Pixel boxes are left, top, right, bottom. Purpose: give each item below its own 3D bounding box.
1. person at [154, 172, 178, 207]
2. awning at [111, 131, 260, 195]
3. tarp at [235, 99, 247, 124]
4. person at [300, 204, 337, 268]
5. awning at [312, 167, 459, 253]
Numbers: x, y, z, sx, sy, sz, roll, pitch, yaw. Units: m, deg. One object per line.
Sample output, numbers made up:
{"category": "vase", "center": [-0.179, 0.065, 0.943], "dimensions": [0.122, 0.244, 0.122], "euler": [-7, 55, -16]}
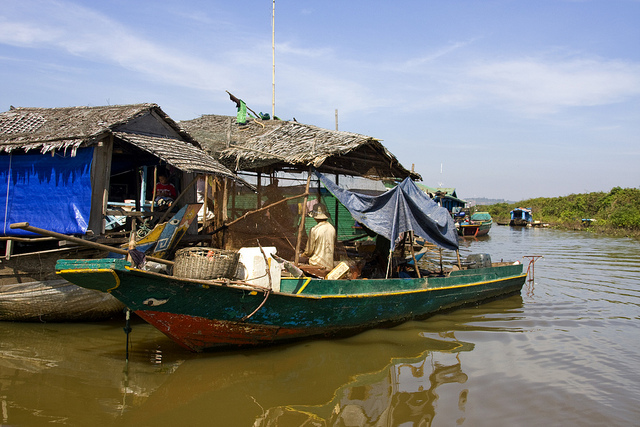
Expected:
{"category": "person", "center": [-4.078, -0.620, 14.858], "dimensions": [0.515, 0.865, 0.852], "euler": [0, 2, -7]}
{"category": "awning", "center": [-3.531, -1.092, 13.519], "dimensions": [1.689, 0.668, 1.802], "euler": [15, -2, 8]}
{"category": "tarp", "center": [-2.388, -3.037, 16.759], "dimensions": [0.281, 0.684, 0.490], "euler": [0, 2, -8]}
{"category": "person", "center": [-0.025, 0.533, 12.878], "dimensions": [0.943, 1.421, 0.888], "euler": [-6, 13, -33]}
{"category": "awning", "center": [1.833, -0.241, 14.033], "dimensions": [3.106, 1.247, 3.475], "euler": [4, 12, -18]}
